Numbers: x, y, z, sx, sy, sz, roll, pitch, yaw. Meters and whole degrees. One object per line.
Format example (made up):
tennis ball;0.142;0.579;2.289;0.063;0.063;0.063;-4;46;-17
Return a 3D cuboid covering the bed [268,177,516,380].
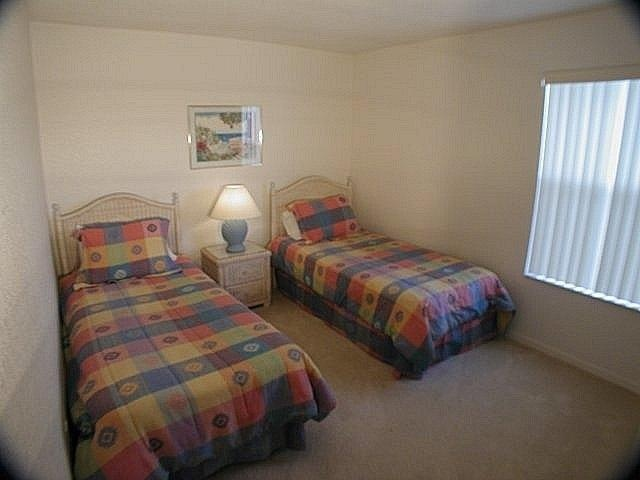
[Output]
bed;0.569;0.163;4.465;1.338;1.220;2.201;-13;22;-36

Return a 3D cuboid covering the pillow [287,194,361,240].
pillow;-0.069;-0.204;5.044;0.965;0.250;0.714;-9;24;-34

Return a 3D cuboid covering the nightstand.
nightstand;-0.823;0.365;4.568;0.590;0.576;0.440;-11;21;-37

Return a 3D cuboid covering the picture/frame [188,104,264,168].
picture/frame;-0.942;-1.023;4.487;0.665;0.483;0.035;-7;18;-31
